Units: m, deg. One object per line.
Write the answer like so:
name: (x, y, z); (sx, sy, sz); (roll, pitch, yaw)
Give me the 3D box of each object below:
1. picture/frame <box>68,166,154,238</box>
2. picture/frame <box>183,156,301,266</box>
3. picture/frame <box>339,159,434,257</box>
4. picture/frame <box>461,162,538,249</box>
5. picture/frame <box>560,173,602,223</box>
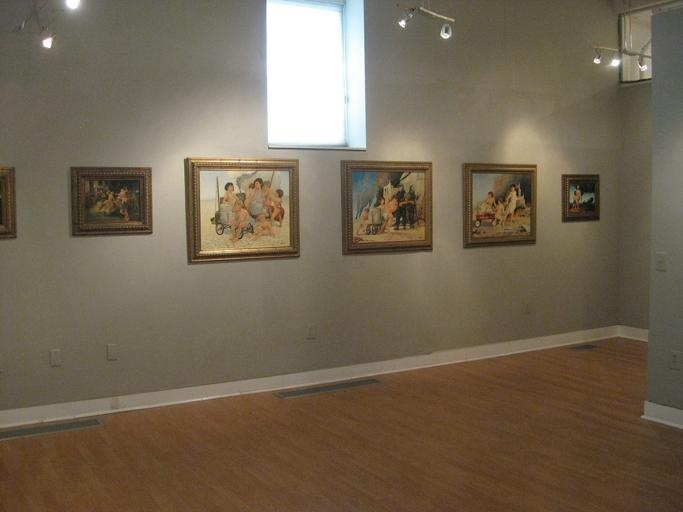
picture/frame: (-2.996, -0.696, 6.713); (0.783, 0.874, 0.066); (-1, 1, -24)
picture/frame: (-1.458, -0.639, 7.302); (1.291, 1.273, 0.111); (-3, 7, -25)
picture/frame: (0.622, -0.759, 8.140); (1.254, 1.303, 0.090); (-4, 6, -27)
picture/frame: (2.632, -0.883, 9.010); (1.234, 1.376, 0.092); (-4, 6, -25)
picture/frame: (4.404, -1.091, 9.802); (0.768, 0.904, 0.064); (-5, 5, -29)
